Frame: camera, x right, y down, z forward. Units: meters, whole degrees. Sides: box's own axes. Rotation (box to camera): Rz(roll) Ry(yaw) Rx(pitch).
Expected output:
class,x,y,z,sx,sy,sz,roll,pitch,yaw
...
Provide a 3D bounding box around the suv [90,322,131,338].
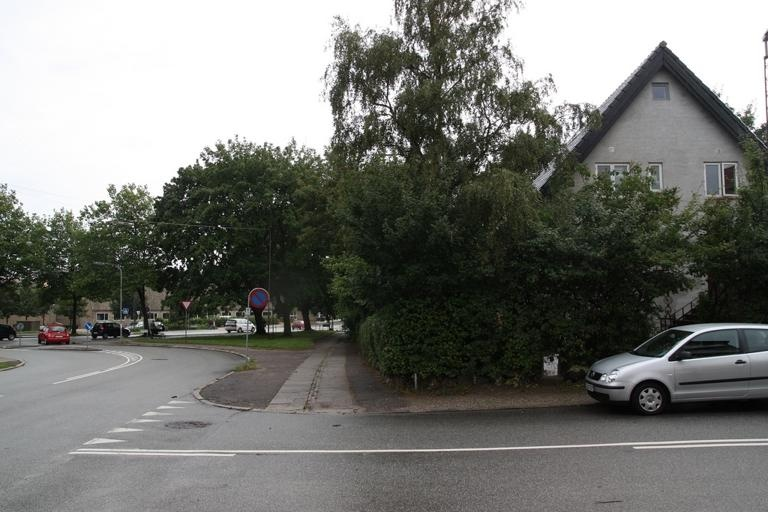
class,x,y,z,sx,sy,sz,roll,pitch,yaw
suv,-26.720,7.696,65.760,3.438,1.917,2.168,-2,0,-23
